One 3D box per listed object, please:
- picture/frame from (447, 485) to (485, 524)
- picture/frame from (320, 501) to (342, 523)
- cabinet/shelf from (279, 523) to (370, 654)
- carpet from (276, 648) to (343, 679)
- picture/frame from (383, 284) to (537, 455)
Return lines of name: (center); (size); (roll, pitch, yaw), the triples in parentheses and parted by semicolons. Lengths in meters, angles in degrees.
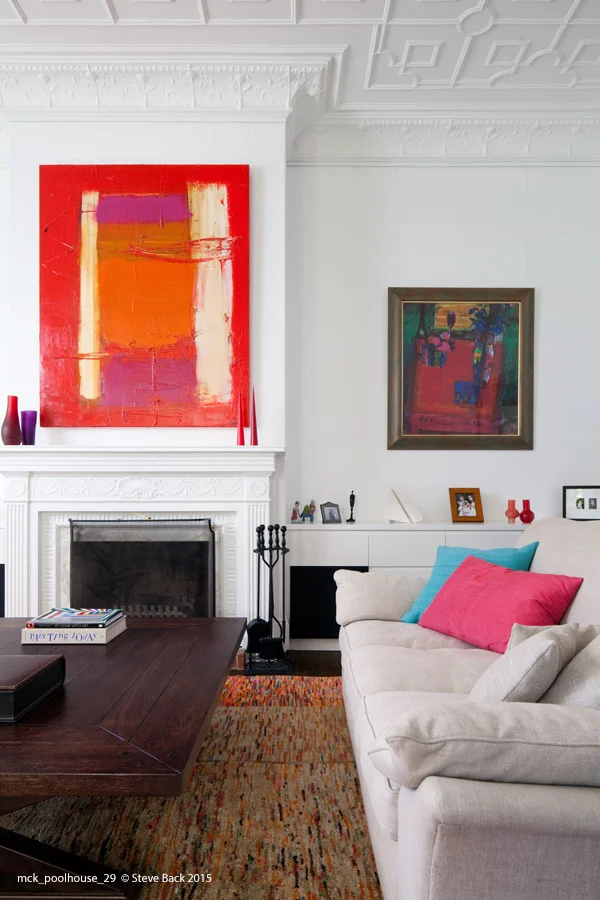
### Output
picture/frame: (0.931, 0.314, 4.020); (0.220, 0.266, 0.019); (1, -31, -3)
picture/frame: (0.174, 0.351, 3.978); (0.107, 0.126, 0.015); (0, -4, 1)
cabinet/shelf: (0.175, 0.698, 3.973); (0.368, 0.657, 0.488); (-23, -28, 36)
carpet: (0.048, 1.044, 3.500); (0.340, 0.013, 0.300); (1, 2, 6)
picture/frame: (0.894, -0.440, 4.092); (0.921, 1.061, 0.059); (0, 1, 2)
